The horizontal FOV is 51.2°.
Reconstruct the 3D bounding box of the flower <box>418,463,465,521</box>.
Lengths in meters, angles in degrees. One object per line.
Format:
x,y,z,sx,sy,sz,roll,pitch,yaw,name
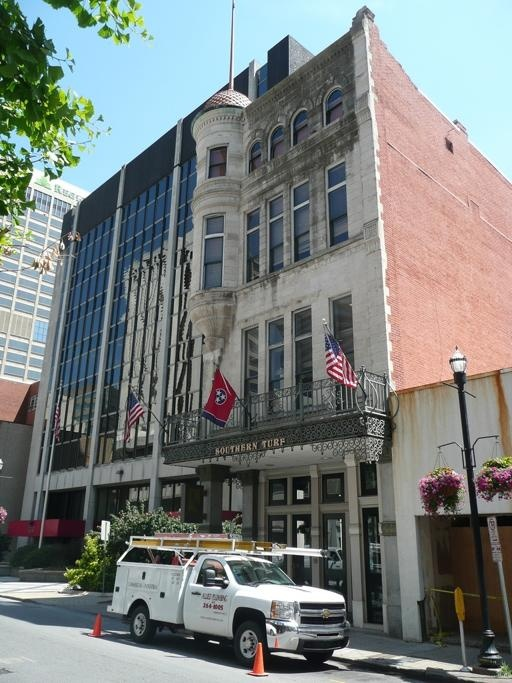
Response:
3.895,3.077,11.156,0.852,0.864,0.870,-1,-13,-12,flower

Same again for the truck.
-0.677,5.234,11.531,2.439,2.290,5.530,20,-30,-38,truck

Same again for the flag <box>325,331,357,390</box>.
2.122,0.450,13.397,0.483,1.405,0.856,-16,-26,39,flag
